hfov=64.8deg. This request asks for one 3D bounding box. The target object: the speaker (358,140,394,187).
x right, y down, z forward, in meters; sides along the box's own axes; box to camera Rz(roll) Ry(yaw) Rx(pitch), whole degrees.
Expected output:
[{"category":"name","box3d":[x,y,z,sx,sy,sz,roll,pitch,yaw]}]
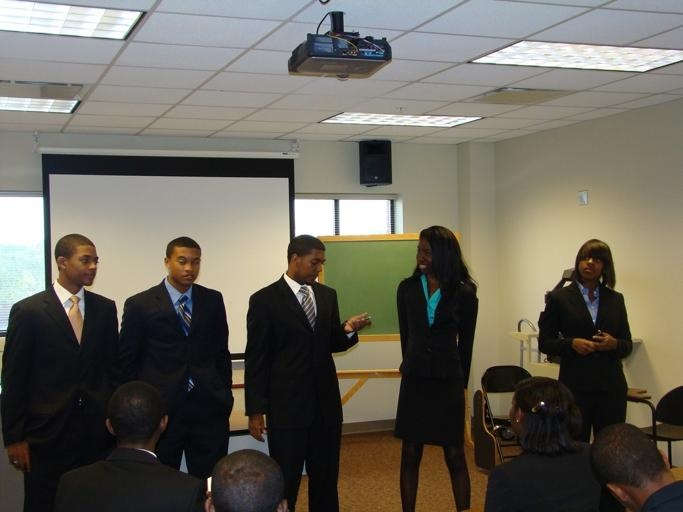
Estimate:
[{"category":"speaker","box3d":[0.407,-1.201,6.588,0.398,0.566,0.299,2,42,5]}]

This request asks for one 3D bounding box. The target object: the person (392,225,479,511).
[{"category":"person","box3d":[0.599,0.745,3.495,0.528,1.805,0.343,1,0,12]}]

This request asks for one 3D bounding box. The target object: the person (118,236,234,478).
[{"category":"person","box3d":[-1.048,0.868,3.488,0.657,1.934,0.477,-2,4,-22]}]

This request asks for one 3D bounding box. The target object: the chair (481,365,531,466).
[{"category":"chair","box3d":[1.543,1.436,4.793,0.506,0.880,0.619,-2,-9,0]}]

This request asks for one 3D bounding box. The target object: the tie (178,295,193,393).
[{"category":"tie","box3d":[-0.971,0.504,3.399,0.081,0.716,0.104,-1,-8,-7]}]

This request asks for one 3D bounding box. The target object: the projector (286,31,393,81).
[{"category":"projector","box3d":[-0.016,-1.098,2.903,0.329,0.125,0.332,0,-5,-21]}]

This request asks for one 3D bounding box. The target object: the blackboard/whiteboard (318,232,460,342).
[{"category":"blackboard/whiteboard","box3d":[0.342,0.272,4.525,1.124,0.947,0.050,-1,-2,-6]}]
